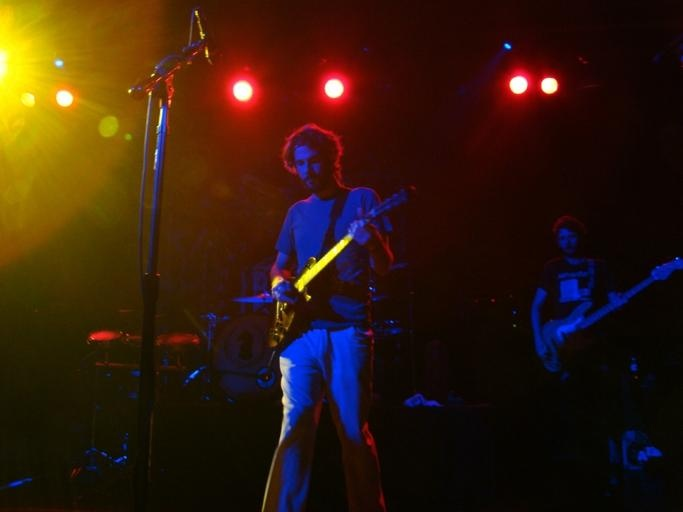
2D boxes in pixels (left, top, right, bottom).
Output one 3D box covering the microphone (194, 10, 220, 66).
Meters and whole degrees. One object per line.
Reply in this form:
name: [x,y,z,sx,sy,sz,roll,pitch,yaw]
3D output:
microphone: [-1.151,-1.863,5.730,0.139,0.159,0.445,-1,-65,19]
